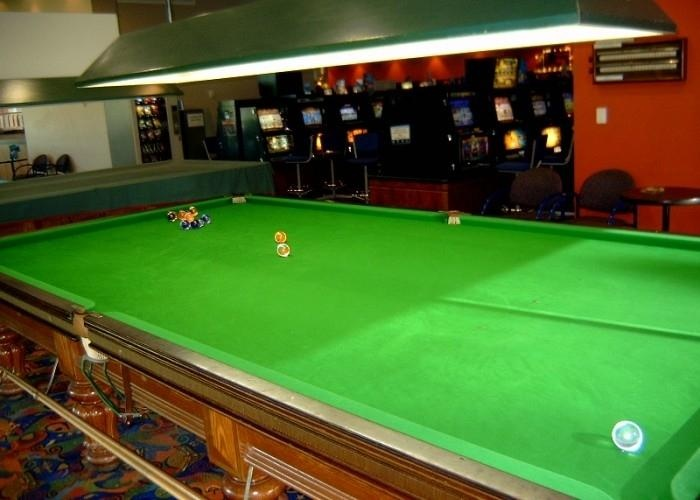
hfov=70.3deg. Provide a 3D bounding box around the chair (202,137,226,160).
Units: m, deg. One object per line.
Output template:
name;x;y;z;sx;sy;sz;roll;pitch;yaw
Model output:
chair;-3.096;-2.290;11.153;0.303;0.510;1.417;-8;12;-19

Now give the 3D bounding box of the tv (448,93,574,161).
tv;2.437;-1.857;7.495;0.717;1.038;2.807;8;15;42

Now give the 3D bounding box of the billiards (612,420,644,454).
billiards;0.647;0.437;1.157;0.065;0.055;0.069;-6;23;9

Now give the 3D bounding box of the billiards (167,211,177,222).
billiards;-1.308;-0.238;3.616;0.074;0.074;0.032;-4;-5;-14
